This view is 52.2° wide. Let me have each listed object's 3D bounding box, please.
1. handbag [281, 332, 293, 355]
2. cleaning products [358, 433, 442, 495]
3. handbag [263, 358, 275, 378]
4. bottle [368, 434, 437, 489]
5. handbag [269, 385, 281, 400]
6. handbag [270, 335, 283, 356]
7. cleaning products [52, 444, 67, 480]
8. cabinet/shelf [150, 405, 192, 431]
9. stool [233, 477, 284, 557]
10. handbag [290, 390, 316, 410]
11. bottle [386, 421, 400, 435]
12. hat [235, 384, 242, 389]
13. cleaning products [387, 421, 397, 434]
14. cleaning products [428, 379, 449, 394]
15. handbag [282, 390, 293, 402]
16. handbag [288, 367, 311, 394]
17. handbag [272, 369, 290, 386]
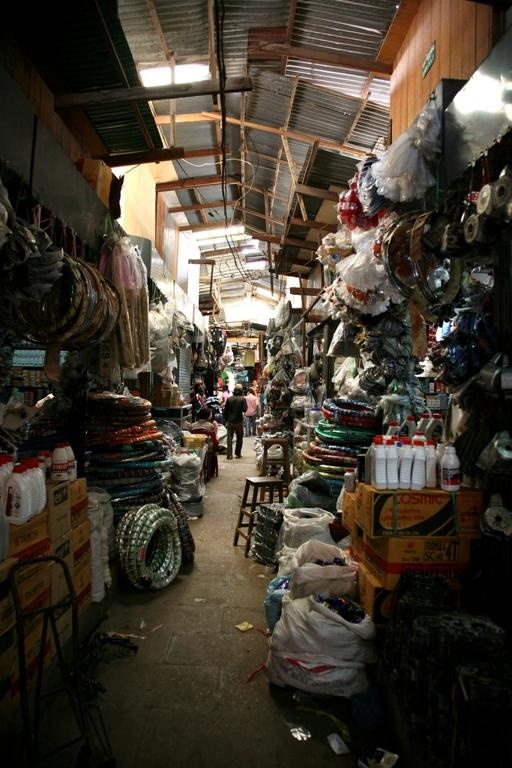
[{"bbox_3d":[0.511,-0.617,8.499,0.205,0.471,0.312,-3,-9,3],"label":"handbag"},{"bbox_3d":[0.649,0.356,2.369,0.240,0.200,0.247,1,5,1],"label":"cleaning products"},{"bbox_3d":[0.223,-0.244,9.100,0.127,0.307,0.236,14,11,2],"label":"handbag"},{"bbox_3d":[0.652,0.310,2.355,0.238,0.197,0.239,0,6,1],"label":"bottle"},{"bbox_3d":[0.324,0.142,8.854,0.158,0.220,0.120,12,37,23],"label":"handbag"},{"bbox_3d":[0.336,-0.669,9.223,0.205,0.289,0.252,9,29,27],"label":"handbag"},{"bbox_3d":[-0.944,0.382,2.515,0.073,0.162,0.087,2,-2,-34],"label":"cleaning products"},{"bbox_3d":[-1.197,0.444,6.998,0.512,0.340,0.359,0,0,-2],"label":"cabinet/shelf"},{"bbox_3d":[0.033,1.165,4.705,0.433,0.579,0.453,5,-9,-1],"label":"stool"},{"bbox_3d":[0.684,0.256,7.635,0.354,0.227,0.344,-1,-7,1],"label":"handbag"},{"bbox_3d":[0.818,0.266,3.114,0.036,0.100,0.064,2,7,-22],"label":"bottle"},{"bbox_3d":[-0.348,0.064,10.363,0.086,0.091,0.090,13,-22,-8],"label":"hat"},{"bbox_3d":[0.816,0.263,3.129,0.034,0.087,0.053,3,6,-10],"label":"cleaning products"},{"bbox_3d":[2.199,0.039,6.370,0.193,0.172,0.344,0,-2,27],"label":"cleaning products"},{"bbox_3d":[0.517,0.206,8.616,0.171,0.211,0.178,4,6,-22],"label":"handbag"},{"bbox_3d":[0.664,-0.028,7.825,0.335,0.523,0.333,7,-18,5],"label":"handbag"},{"bbox_3d":[0.390,-0.081,8.538,0.281,0.311,0.231,6,-15,2],"label":"handbag"}]
